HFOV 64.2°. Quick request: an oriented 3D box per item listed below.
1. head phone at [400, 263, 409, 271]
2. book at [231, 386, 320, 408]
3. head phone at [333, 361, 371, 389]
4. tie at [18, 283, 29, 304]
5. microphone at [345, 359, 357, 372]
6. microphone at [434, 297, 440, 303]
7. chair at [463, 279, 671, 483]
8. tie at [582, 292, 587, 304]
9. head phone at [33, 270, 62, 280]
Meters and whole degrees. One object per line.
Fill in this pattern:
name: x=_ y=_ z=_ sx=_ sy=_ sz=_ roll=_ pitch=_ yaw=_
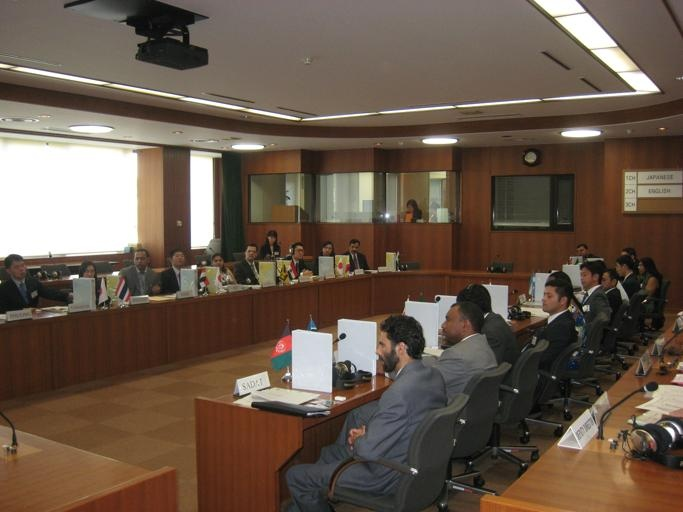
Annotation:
head phone: x=1.230 y=0.199 z=10.780 sx=0.114 sy=0.200 sz=0.217 roll=2 pitch=3 yaw=35
book: x=-0.397 y=0.943 z=3.626 sx=0.391 sy=0.059 sz=0.315 roll=5 pitch=4 yaw=21
head phone: x=0.045 y=0.877 z=3.952 sx=0.208 sy=0.074 sz=0.196 roll=-1 pitch=-2 yaw=41
tie: x=-3.998 y=0.474 z=6.876 sx=0.135 sy=0.249 sz=0.057 roll=-7 pitch=-6 yaw=-22
microphone: x=0.064 y=0.822 z=4.044 sx=0.076 sy=0.089 sz=0.099 roll=11 pitch=-23 yaw=10
microphone: x=1.008 y=0.476 z=5.854 sx=0.057 sy=0.074 sz=0.076 roll=5 pitch=-16 yaw=9
chair: x=1.934 y=1.034 z=5.533 sx=1.501 sy=2.524 sz=1.609 roll=2 pitch=0 yaw=31
tie: x=3.095 y=0.545 z=6.998 sx=0.048 sy=0.127 sz=0.097 roll=12 pitch=-7 yaw=12
head phone: x=-4.991 y=0.332 z=9.253 sx=0.269 sy=0.293 sz=0.214 roll=-1 pitch=-3 yaw=22
